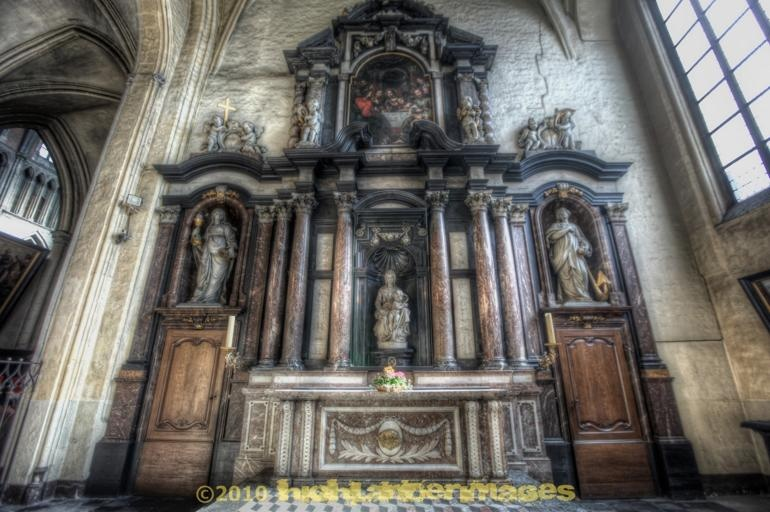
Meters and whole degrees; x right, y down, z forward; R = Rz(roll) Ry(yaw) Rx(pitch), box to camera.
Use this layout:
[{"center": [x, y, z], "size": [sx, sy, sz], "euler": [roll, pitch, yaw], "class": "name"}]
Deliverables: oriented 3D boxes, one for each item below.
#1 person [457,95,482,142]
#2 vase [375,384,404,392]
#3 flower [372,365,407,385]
[{"center": [1.746, -2.794, 9.668], "size": [0.493, 1.064, 0.321], "euler": [-4, -25, 9], "class": "person"}, {"center": [0.044, 2.062, 7.206], "size": [0.354, 0.092, 0.083], "euler": [-2, -24, 3], "class": "vase"}, {"center": [0.099, 1.949, 7.391], "size": [0.462, 0.264, 0.447], "euler": [7, -9, -40], "class": "flower"}]
